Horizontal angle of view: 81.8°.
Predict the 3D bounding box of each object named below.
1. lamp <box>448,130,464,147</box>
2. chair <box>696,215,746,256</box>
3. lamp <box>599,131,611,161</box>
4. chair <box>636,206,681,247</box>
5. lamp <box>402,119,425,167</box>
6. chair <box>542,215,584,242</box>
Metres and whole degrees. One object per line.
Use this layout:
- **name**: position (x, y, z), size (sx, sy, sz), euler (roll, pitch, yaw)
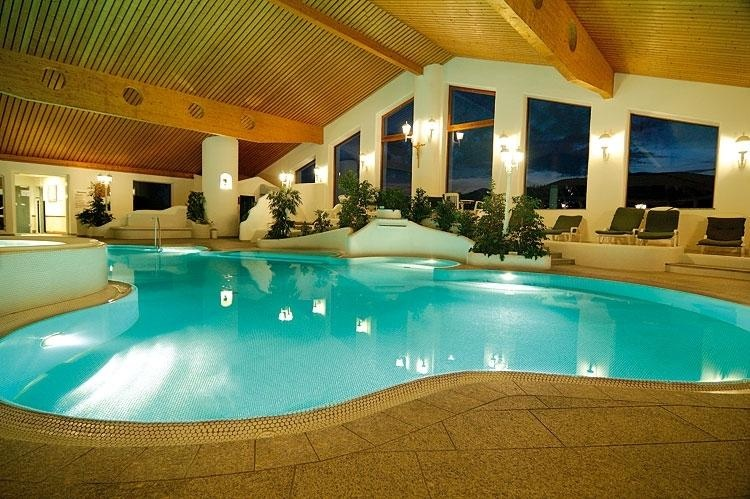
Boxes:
- **lamp**: position (2.624, -3.639, 14.122), size (0.446, 0.433, 0.389), euler (2, 2, 43)
- **chair**: position (7.062, -0.276, 9.066), size (0.842, 0.972, 1.080), euler (2, 4, 41)
- **lamp**: position (5.854, -2.652, 11.122), size (0.300, 0.675, 0.176), euler (8, 11, 41)
- **chair**: position (6.010, -0.476, 9.256), size (0.824, 0.917, 1.241), euler (-2, 4, 38)
- **lamp**: position (1.275, -3.611, 14.527), size (0.795, 1.628, 2.359), euler (1, 7, 3)
- **chair**: position (4.697, -0.556, 10.854), size (0.928, 0.580, 0.673), euler (-7, 4, -43)
